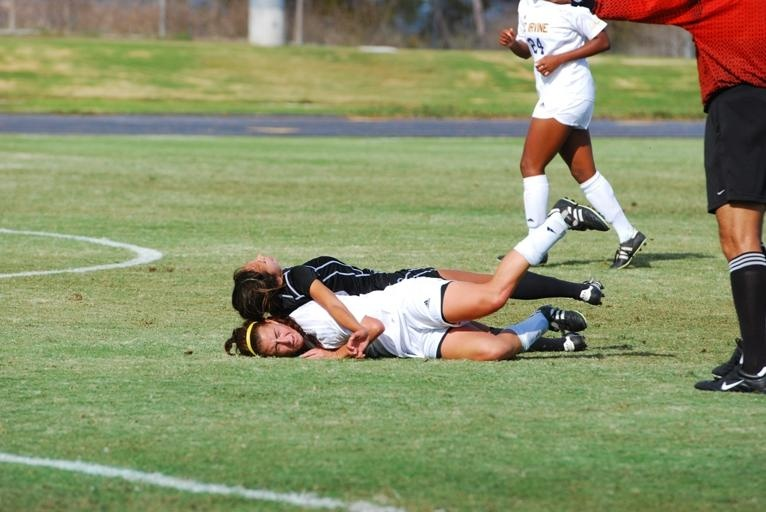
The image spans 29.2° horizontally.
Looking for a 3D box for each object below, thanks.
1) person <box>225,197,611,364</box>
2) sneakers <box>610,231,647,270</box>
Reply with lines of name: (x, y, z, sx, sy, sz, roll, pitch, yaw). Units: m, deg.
person: (0.183, 0.151, 9.780, 1.965, 0.647, 1.201, 1, -7, 3)
sneakers: (1.993, -0.047, 11.680, 0.179, 0.393, 0.159, 25, 29, -19)
